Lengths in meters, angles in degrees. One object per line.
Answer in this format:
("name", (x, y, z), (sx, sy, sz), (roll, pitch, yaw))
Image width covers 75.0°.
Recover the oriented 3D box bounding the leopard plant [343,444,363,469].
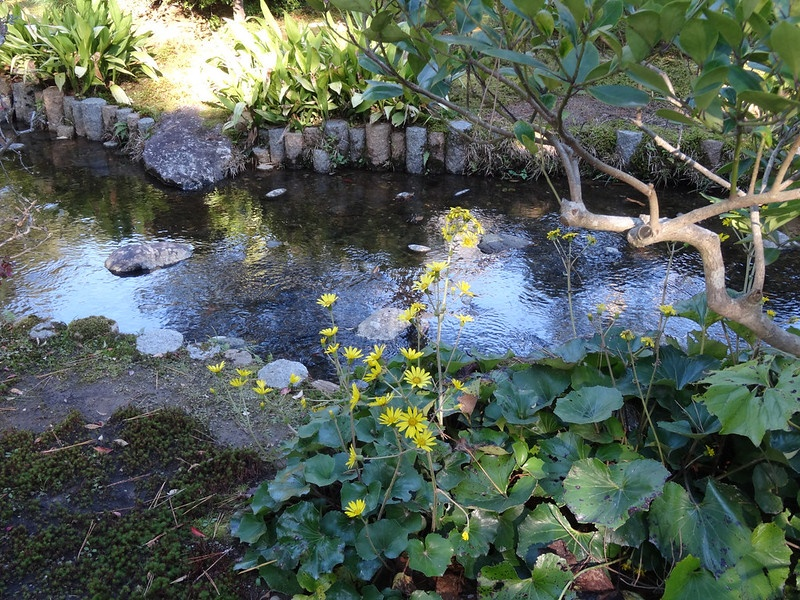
("leopard plant", (-0.139, 0.561, 1.844), (0.050, 0.104, 0.105), (-2, 43, -1))
